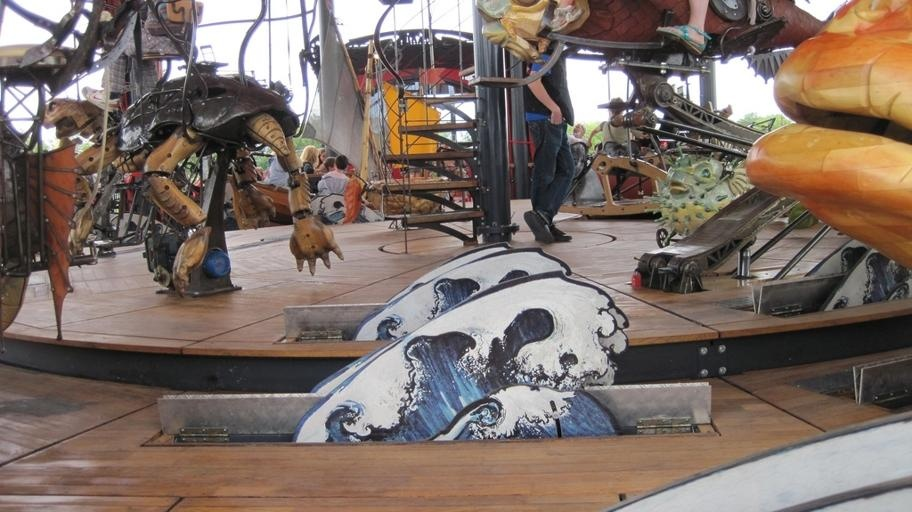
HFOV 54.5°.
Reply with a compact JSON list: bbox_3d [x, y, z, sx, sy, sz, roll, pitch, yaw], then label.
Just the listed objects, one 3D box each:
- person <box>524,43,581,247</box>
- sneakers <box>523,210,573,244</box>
[{"bbox_3d":[0.810,-0.894,7.740,0.437,1.574,0.675,0,14,4],"label":"person"},{"bbox_3d":[0.827,-0.258,8.159,0.176,0.439,0.149,-25,-16,-32],"label":"sneakers"}]
